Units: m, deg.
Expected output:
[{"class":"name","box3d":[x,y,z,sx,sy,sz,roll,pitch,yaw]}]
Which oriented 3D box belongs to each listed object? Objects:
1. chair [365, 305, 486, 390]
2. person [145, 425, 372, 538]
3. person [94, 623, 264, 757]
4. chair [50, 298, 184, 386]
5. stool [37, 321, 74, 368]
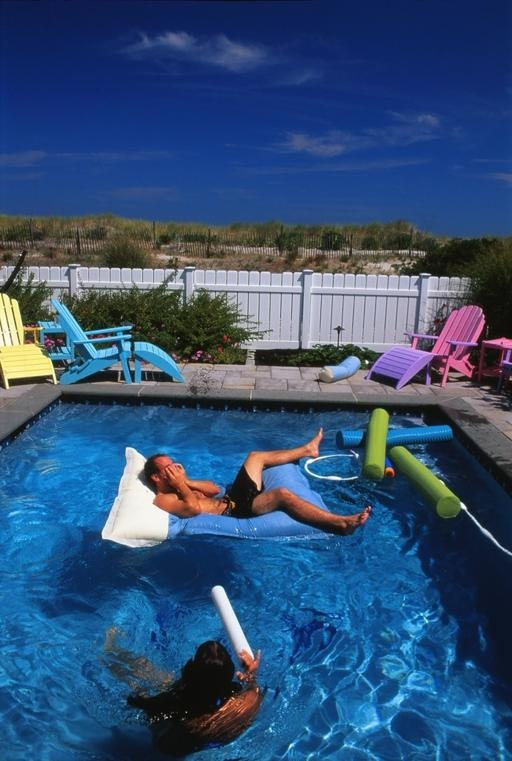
[{"class":"chair","box3d":[2.719,-0.560,8.776,1.749,1.235,1.004,-6,14,-28]},{"class":"person","box3d":[-0.200,0.908,4.643,1.061,0.383,0.952,-2,12,-3]},{"class":"person","box3d":[-0.429,1.475,2.890,0.506,0.462,0.893,4,1,-37]},{"class":"chair","box3d":[-1.998,-0.501,8.283,1.831,1.197,1.065,-1,3,-10]},{"class":"stool","box3d":[-3.073,-0.541,8.569,0.437,0.833,0.442,-9,42,-9]}]
